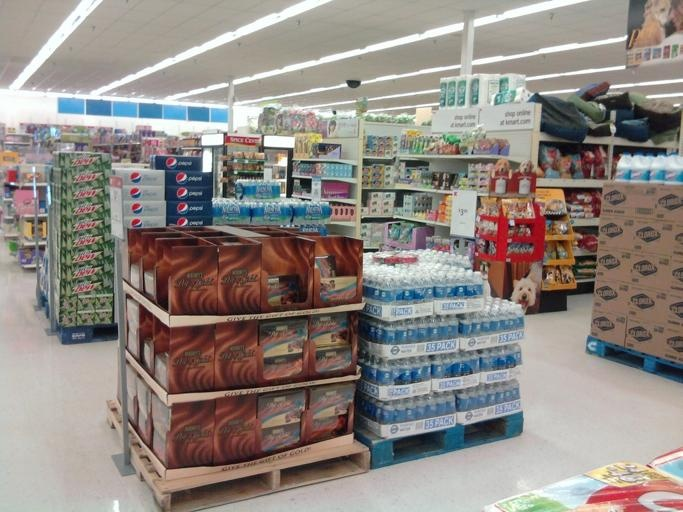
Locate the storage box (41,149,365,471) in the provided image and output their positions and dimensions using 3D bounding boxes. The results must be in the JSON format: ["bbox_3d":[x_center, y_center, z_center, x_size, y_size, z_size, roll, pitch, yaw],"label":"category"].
[{"bbox_3d":[-1.025,0.440,3.991,1.665,1.427,1.600,-5,11,-35],"label":"storage box"}]

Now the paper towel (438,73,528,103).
[{"bbox_3d":[2.079,-2.493,8.211,1.263,0.471,0.325,13,17,41],"label":"paper towel"}]

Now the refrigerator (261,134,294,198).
[{"bbox_3d":[-1.252,-1.605,10.642,0.727,1.500,0.382,-3,16,-13],"label":"refrigerator"}]

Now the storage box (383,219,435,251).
[{"bbox_3d":[1.124,-0.504,8.912,0.477,0.491,0.853,0,5,-36],"label":"storage box"}]

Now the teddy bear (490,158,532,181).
[{"bbox_3d":[2.246,-1.134,7.125,0.440,0.172,0.299,1,5,6],"label":"teddy bear"}]

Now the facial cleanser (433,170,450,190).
[{"bbox_3d":[1.519,-1.162,8.346,0.137,0.245,0.416,-3,14,-20],"label":"facial cleanser"}]
